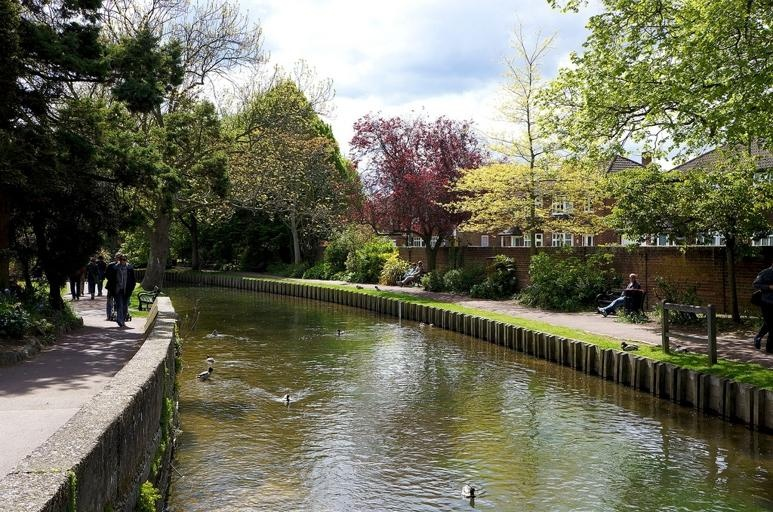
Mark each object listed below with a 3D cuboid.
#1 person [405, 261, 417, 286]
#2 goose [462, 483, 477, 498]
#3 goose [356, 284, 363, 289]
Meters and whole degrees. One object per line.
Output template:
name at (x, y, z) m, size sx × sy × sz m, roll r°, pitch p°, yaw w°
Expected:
person at (1.485, 1.078, 39.804) m, size 0.605 × 0.991 × 1.139 m, roll 2°, pitch 10°, yaw 10°
goose at (1.591, 4.448, 13.085) m, size 0.257 × 0.191 × 0.297 m, roll 2°, pitch 10°, yaw 11°
goose at (-1.534, 1.745, 39.175) m, size 0.162 × 0.224 × 0.434 m, roll -2°, pitch -9°, yaw 7°
